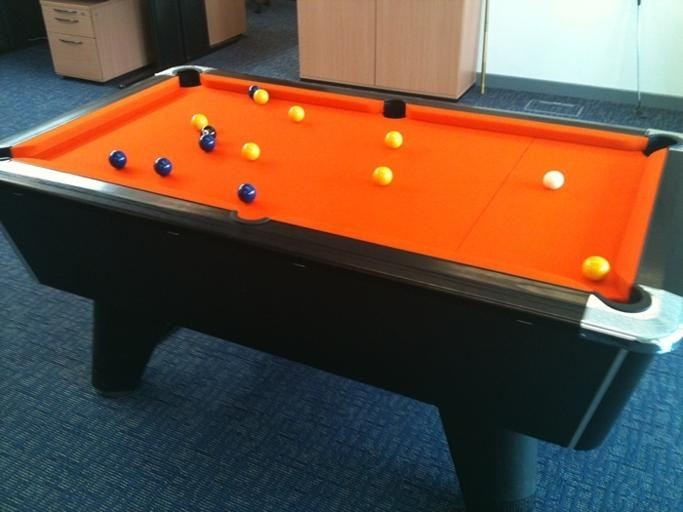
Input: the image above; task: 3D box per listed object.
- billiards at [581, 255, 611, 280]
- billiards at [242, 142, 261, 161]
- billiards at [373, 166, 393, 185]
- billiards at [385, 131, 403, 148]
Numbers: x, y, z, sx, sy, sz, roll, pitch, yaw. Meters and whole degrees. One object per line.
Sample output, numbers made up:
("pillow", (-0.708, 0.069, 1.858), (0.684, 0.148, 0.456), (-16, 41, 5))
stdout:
("billiards", (0.690, 0.028, 1.556), (0.079, 0.056, 0.067), (-9, 23, 20))
("billiards", (-0.327, -0.379, 2.077), (0.086, 0.060, 0.071), (0, 9, 10))
("billiards", (0.142, -0.267, 1.922), (0.079, 0.035, 0.060), (4, 57, 5))
("billiards", (0.200, -0.433, 2.123), (0.086, 0.059, 0.069), (1, 13, 10))
